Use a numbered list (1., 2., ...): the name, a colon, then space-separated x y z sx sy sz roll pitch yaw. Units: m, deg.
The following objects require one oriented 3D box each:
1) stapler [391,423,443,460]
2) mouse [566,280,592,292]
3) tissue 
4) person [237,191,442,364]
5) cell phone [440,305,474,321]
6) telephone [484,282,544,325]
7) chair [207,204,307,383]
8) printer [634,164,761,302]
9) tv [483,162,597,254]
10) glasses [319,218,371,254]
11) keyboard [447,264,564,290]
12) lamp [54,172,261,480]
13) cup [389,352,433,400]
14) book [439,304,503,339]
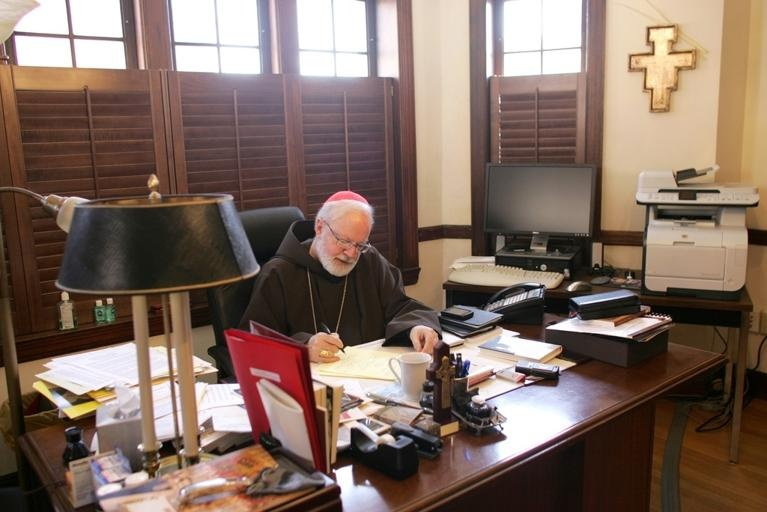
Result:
1. stapler: 0.107 0.590 1.745 0.157 0.086 0.069 1 11 22
2. mouse: 1.217 0.177 3.358 0.130 0.042 0.075 -5 10 -29
3. tissue : -0.789 0.517 1.696 0.155 0.229 0.106 16 19 43
4. person: -0.258 0.087 2.801 0.887 1.012 0.615 -5 12 -33
5. cell phone: 0.353 0.274 2.607 0.080 0.024 0.085 6 12 29
6. telephone: 0.665 0.241 2.797 0.365 0.159 0.381 -7 5 24
7. chair: -0.675 0.141 2.801 0.482 0.860 0.446 -9 24 -24
8. printer: 1.921 -0.196 3.397 0.682 0.764 0.496 5 15 21
9. tv: 1.066 -0.392 3.744 0.716 0.500 0.163 3 13 29
10. glasses: -0.207 -0.085 2.731 0.177 0.054 0.179 43 16 32
11. keyboard: 0.782 0.134 3.580 0.506 0.083 0.268 0 11 21
12. lamp: -0.638 0.202 1.759 0.597 0.857 0.481 -17 30 -29
13. cup: 0.125 0.439 2.006 0.173 0.161 0.159 3 15 -1
14. book: 0.390 0.276 2.609 0.344 0.108 0.357 -1 15 -10
